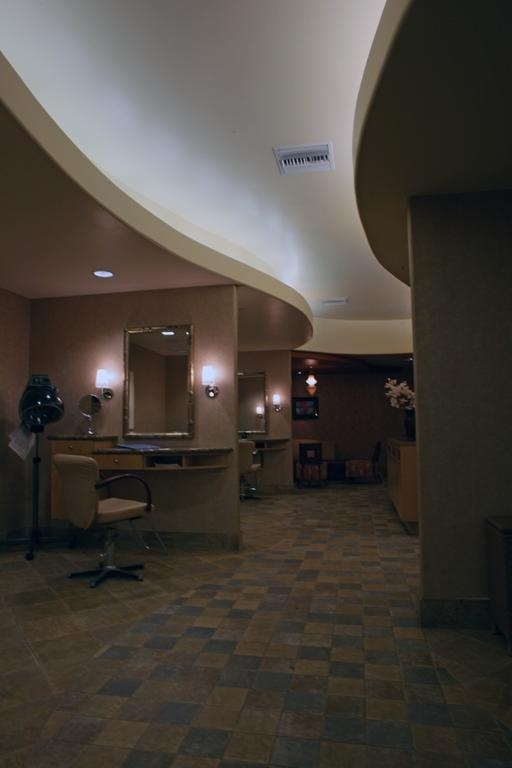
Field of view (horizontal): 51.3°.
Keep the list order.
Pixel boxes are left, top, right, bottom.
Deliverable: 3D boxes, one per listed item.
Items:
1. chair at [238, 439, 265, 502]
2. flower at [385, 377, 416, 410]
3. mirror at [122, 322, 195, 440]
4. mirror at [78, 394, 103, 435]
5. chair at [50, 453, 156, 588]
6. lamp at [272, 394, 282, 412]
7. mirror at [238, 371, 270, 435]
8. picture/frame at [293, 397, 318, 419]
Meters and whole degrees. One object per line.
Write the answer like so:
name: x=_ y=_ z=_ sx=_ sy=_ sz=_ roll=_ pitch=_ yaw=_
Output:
chair: x=-0.197 y=1.300 z=8.180 sx=0.417 sy=0.752 sz=0.478 roll=1 pitch=3 yaw=17
flower: x=1.885 y=0.138 z=7.086 sx=0.284 sy=0.451 sz=1.213 roll=-2 pitch=-6 yaw=11
mirror: x=-1.045 y=-0.002 z=5.858 sx=1.114 sy=1.851 sz=0.120 roll=0 pitch=-1 yaw=20
mirror: x=-1.873 y=0.341 z=5.988 sx=0.264 sy=0.440 sz=0.094 roll=-3 pitch=-6 yaw=24
chair: x=-1.241 y=1.107 z=4.489 sx=0.739 sy=1.029 sz=1.042 roll=-1 pitch=-6 yaw=4
lamp: x=0.412 y=0.392 z=10.701 sx=0.151 sy=0.349 sz=0.076 roll=1 pitch=-6 yaw=2
mirror: x=-0.103 y=0.428 z=10.685 sx=0.615 sy=1.296 sz=0.095 roll=1 pitch=-25 yaw=-8
picture/frame: x=1.398 y=0.698 z=14.945 sx=0.507 sy=0.554 sz=0.259 roll=0 pitch=-7 yaw=3
